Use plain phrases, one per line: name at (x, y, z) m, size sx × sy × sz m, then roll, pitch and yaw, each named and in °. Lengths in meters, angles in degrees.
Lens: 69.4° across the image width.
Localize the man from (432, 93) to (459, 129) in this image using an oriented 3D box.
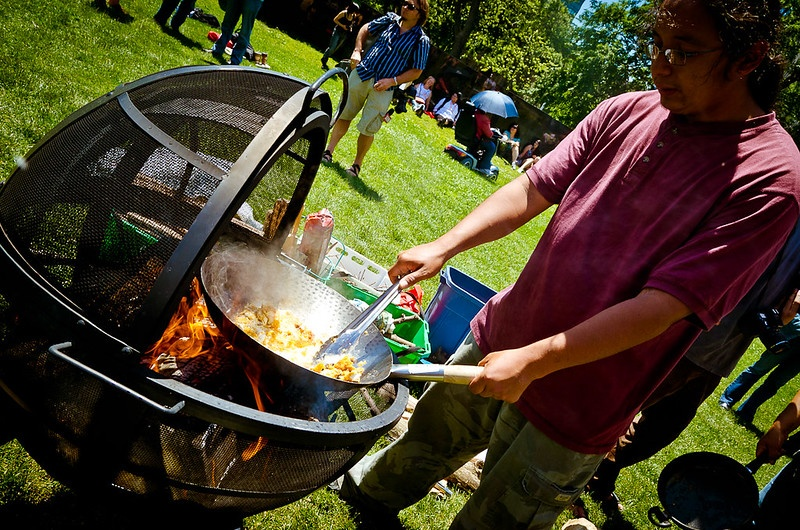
man at (1.281, -4.263, 16.478) m, size 0.556 × 0.871 × 1.474 m, roll 18°, pitch 34°, yaw 15°

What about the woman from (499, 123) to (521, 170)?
woman at (3.552, -3.764, 18.249) m, size 0.462 × 1.491 × 0.765 m, roll 12°, pitch -5°, yaw -10°

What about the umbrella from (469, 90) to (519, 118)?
umbrella at (2.223, -3.911, 13.981) m, size 1.065 × 0.416 × 1.109 m, roll -6°, pitch 41°, yaw -38°

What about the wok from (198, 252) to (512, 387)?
wok at (-0.471, 0.206, 2.963) m, size 0.995 × 0.187 × 0.659 m, roll 24°, pitch 14°, yaw -17°

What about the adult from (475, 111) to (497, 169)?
adult at (1.836, -2.686, 12.327) m, size 0.482 × 1.350 × 0.485 m, roll -5°, pitch 11°, yaw -35°

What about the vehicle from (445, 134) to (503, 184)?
vehicle at (1.622, -2.127, 12.496) m, size 1.322 × 0.813 × 0.627 m, roll 18°, pitch 18°, yaw -35°
